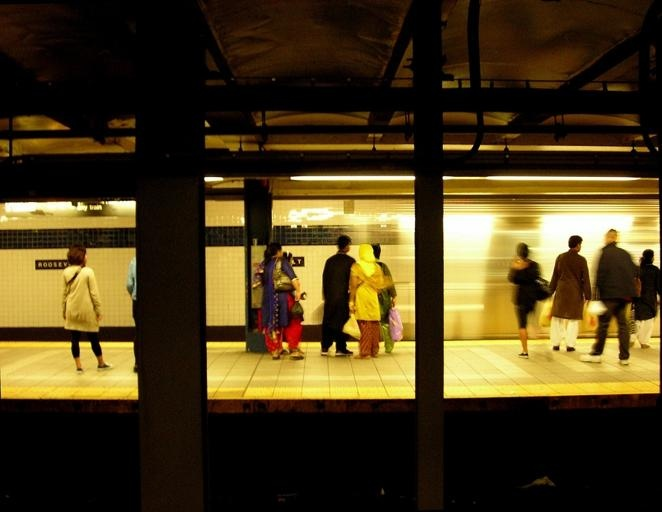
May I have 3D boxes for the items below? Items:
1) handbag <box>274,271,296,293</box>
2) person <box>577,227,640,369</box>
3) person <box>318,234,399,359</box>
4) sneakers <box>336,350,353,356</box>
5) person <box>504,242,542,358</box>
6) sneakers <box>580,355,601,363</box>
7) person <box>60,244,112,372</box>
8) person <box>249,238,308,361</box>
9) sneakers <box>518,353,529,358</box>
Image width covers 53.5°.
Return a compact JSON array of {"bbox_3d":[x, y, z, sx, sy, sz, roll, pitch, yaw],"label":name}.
[{"bbox_3d":[-0.705,0.442,10.252,0.352,0.515,0.258,-2,-8,-1],"label":"handbag"},{"bbox_3d":[4.232,0.614,9.857,0.670,1.727,0.367,3,2,22],"label":"person"},{"bbox_3d":[0.466,0.648,10.392,1.040,1.910,0.413,3,2,13],"label":"person"},{"bbox_3d":[0.212,1.566,10.509,0.242,0.104,0.098,1,-5,-7],"label":"sneakers"},{"bbox_3d":[3.124,0.687,10.509,0.429,1.382,0.563,2,2,-25],"label":"person"},{"bbox_3d":[3.949,1.560,9.995,0.292,0.141,0.116,1,0,43],"label":"sneakers"},{"bbox_3d":[-3.637,0.769,9.724,0.660,1.829,0.388,2,2,-18],"label":"person"},{"bbox_3d":[-0.801,0.692,10.406,0.848,1.810,0.614,2,2,1],"label":"person"},{"bbox_3d":[3.024,1.564,10.302,0.062,0.076,0.169,2,2,-26],"label":"sneakers"}]
